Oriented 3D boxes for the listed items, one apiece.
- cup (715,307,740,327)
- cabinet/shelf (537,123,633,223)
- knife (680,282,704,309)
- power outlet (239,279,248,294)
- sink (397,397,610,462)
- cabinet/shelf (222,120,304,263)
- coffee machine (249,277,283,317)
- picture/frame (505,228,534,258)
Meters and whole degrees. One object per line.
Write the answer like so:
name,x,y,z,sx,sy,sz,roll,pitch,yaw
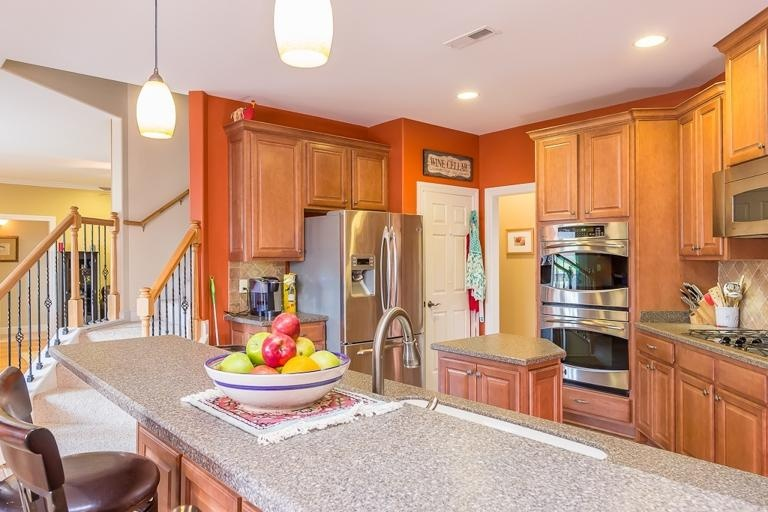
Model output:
cup,2.741,0.485,4.237,0.185,0.180,0.133,7,9,21
cabinet/shelf,2.060,-0.748,5.097,0.649,0.886,1.010,-2,1,-40
knife,2.603,0.339,4.510,0.158,0.240,0.087,1,-1,8
power outlet,-1.360,0.293,5.135,0.080,0.138,0.045,2,9,-15
sink,0.502,0.745,2.372,0.952,0.114,0.176,8,9,29
cabinet/shelf,-1.103,-0.604,4.982,0.733,1.260,0.412,2,9,-17
coffee machine,-1.128,0.376,4.938,0.366,0.326,0.353,-1,4,-22
picture/frame,1.893,-0.191,7.377,0.032,0.362,0.459,6,-4,-43
